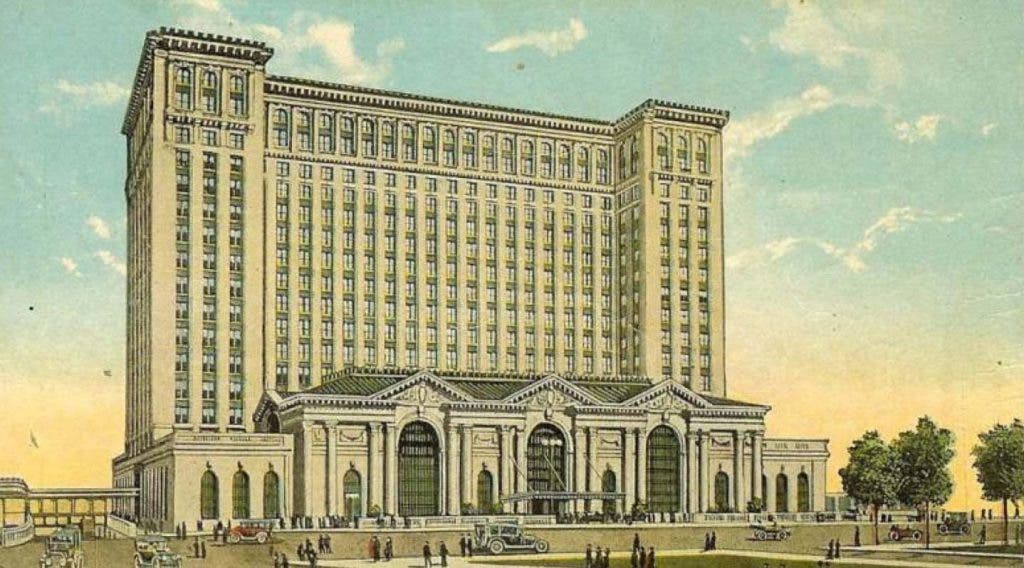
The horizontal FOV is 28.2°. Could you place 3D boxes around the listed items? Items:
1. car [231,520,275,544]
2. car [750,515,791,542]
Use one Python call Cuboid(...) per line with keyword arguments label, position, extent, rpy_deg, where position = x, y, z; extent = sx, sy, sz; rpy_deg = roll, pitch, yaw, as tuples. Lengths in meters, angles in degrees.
Cuboid(label="car", position=(-37.391, 35.121, 290.749), extent=(5.769, 3.417, 2.776), rpy_deg=(0, -14, -4))
Cuboid(label="car", position=(38.445, 36.138, 299.823), extent=(5.275, 2.610, 2.841), rpy_deg=(3, -15, -7))
